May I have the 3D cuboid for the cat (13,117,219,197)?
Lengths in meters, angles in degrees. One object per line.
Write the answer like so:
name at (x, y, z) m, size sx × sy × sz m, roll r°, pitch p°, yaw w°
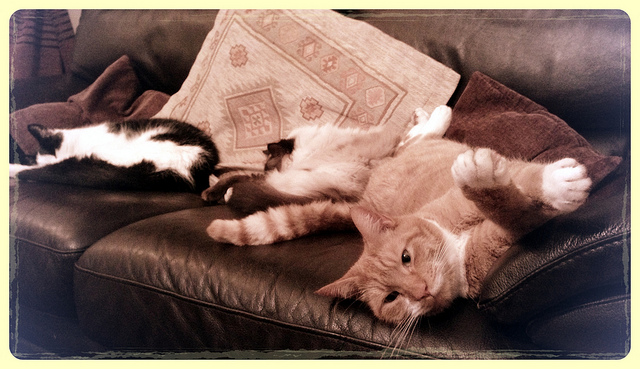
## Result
cat at (-0.917, -0.086, 2.547) m, size 0.782 × 0.170 × 0.398 m, roll 7°, pitch 57°, yaw 3°

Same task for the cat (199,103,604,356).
cat at (0.420, 0.144, 2.334) m, size 1.288 × 0.456 × 1.050 m, roll -37°, pitch 29°, yaw -4°
